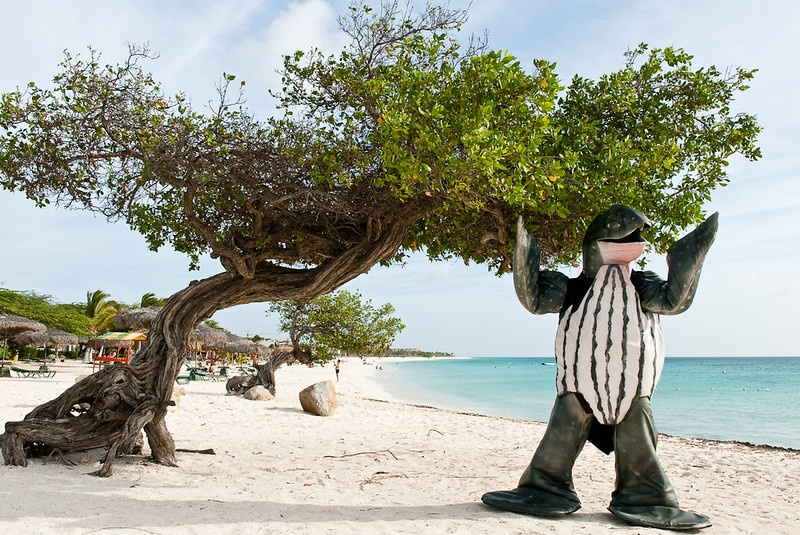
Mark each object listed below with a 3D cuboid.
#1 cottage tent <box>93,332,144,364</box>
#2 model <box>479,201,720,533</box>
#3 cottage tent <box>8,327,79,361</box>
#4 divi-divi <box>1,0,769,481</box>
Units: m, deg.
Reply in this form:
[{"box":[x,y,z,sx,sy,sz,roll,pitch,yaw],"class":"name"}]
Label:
[{"box":[-13.020,4.070,29.856,2.344,1.306,1.625,2,-32,-19],"class":"cottage tent"},{"box":[2.552,1.164,7.986,2.326,3.892,0.644,4,-6,6],"class":"model"},{"box":[-17.736,3.515,31.875,2.673,1.614,2.581,1,-2,-6],"class":"cottage tent"},{"box":[-0.332,0.392,10.209,9.370,5.930,6.558,-2,-5,-6],"class":"divi-divi"}]
